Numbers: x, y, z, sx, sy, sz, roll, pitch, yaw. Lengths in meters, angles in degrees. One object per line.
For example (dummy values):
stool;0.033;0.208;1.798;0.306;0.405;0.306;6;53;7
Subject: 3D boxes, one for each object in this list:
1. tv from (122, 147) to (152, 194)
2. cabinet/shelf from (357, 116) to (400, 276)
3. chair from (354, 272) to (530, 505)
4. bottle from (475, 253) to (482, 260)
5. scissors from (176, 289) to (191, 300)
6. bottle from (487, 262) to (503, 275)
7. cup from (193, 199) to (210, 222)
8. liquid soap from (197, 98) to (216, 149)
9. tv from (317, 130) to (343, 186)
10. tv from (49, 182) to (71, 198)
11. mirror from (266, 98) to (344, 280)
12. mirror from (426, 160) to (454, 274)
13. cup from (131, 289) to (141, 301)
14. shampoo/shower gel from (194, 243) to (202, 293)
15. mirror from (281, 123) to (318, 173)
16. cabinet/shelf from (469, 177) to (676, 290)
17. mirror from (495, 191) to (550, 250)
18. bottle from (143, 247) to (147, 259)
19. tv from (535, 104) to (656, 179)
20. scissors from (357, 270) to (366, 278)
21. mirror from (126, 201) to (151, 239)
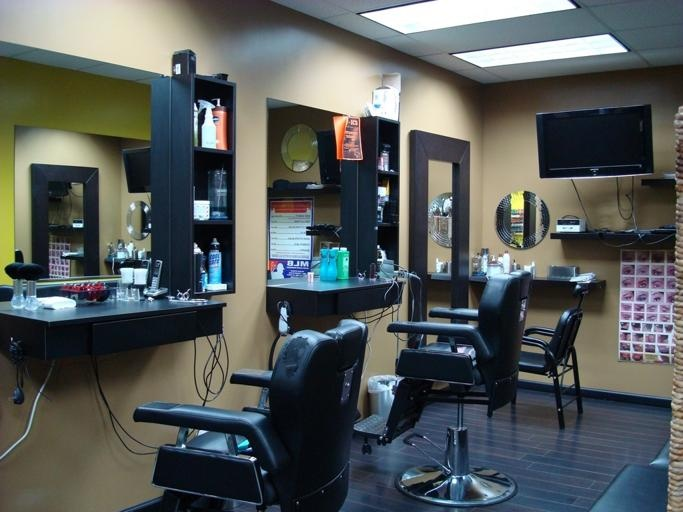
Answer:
tv;-1.188;-0.497;3.047;0.025;0.276;0.227;-1;10;35
cabinet/shelf;0.306;-0.504;4.405;0.189;1.258;0.390;3;5;41
chair;0.755;0.822;3.459;0.759;1.450;0.801;2;4;35
bottle;1.443;0.004;5.607;0.060;0.058;0.063;2;2;35
scissors;-0.912;0.224;3.053;0.060;0.054;0.068;1;-4;-22
bottle;1.548;0.128;5.341;0.157;0.173;0.126;1;1;36
cup;-0.828;-0.270;3.125;0.104;0.120;0.110;0;2;0
liquid soap;-0.791;-0.771;3.099;0.100;0.295;0.113;-1;4;-15
tv;-0.098;-0.761;4.029;0.052;0.535;0.396;0;4;33
tv;-1.470;-0.346;2.751;0.063;0.094;0.129;-1;1;30
mirror;-0.291;-0.475;3.868;0.077;1.253;0.645;3;5;42
mirror;0.973;-0.361;5.221;0.403;1.118;0.129;-3;5;-43
cup;-1.175;0.225;3.031;0.057;0.089;0.060;1;4;0
shampoo/shower gel;-0.842;0.073;3.119;0.048;0.279;0.131;-1;4;-12
mirror;-0.318;-0.780;3.806;0.055;0.466;0.363;2;0;44
cabinet/shelf;2.484;-0.228;5.089;1.219;1.053;0.540;2;4;32
mirror;1.944;-0.380;5.622;0.502;0.636;0.030;12;3;36
bottle;-1.147;-0.011;3.108;0.036;0.072;0.037;3;6;0
tv;2.335;-1.034;4.828;0.666;0.490;0.101;0;6;31
scissors;0.153;0.154;4.324;0.053;0.052;0.046;1;-30;5
mirror;-1.180;-0.206;3.051;0.017;0.259;0.203;3;-1;29
